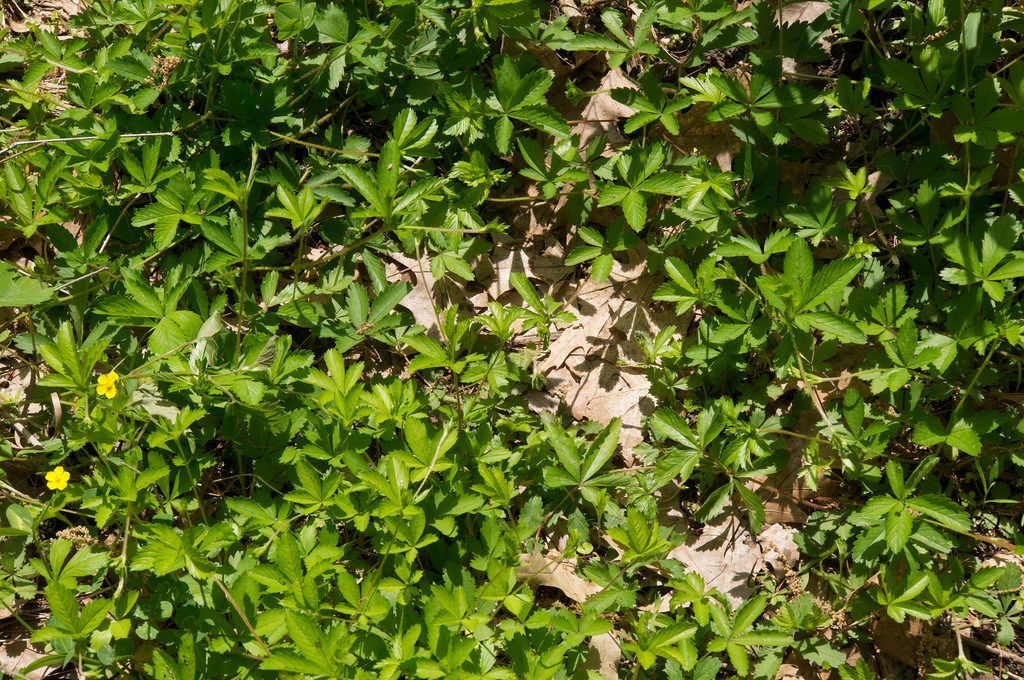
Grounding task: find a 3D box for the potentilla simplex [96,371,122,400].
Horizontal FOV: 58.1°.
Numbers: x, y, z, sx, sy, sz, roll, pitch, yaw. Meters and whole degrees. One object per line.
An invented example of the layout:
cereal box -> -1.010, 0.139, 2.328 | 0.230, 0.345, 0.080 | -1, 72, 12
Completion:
potentilla simplex -> -2.028, 0.235, 4.628 | 0.128, 0.037, 0.137 | -14, 77, 6
